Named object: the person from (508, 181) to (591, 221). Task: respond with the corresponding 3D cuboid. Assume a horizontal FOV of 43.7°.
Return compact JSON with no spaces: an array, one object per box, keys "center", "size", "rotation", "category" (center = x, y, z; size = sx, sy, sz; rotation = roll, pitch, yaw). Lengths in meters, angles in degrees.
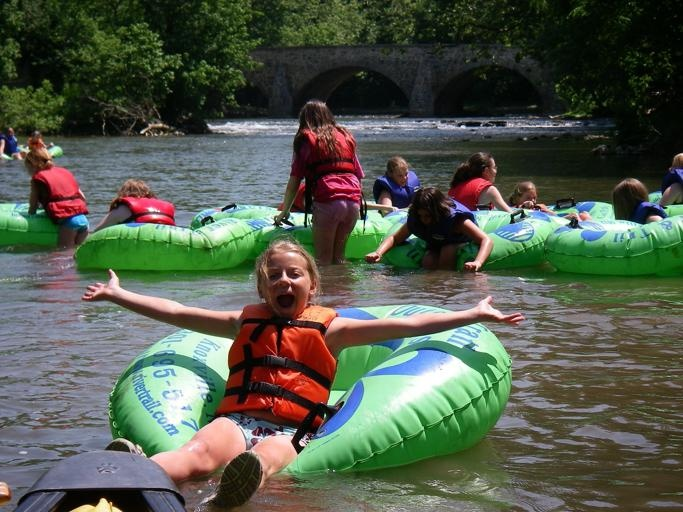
[{"center":[2.342,-0.689,10.313],"size":[0.927,0.155,0.718],"rotation":[8,7,-6],"category":"person"}]
